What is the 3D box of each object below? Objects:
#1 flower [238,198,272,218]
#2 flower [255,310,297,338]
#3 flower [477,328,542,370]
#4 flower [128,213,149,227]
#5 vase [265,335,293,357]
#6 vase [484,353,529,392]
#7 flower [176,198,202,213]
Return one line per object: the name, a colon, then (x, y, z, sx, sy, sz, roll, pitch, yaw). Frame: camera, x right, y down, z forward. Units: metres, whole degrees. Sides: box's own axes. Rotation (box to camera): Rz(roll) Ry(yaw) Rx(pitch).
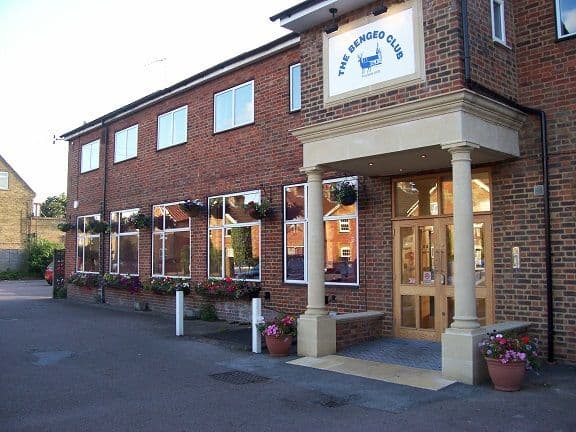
flower: (-0.913, -0.202, 14.737, 0.619, 0.426, 0.597, 1, 3, -37)
flower: (-0.245, 2.440, 11.608, 0.737, 0.462, 0.815, 2, -7, -8)
flower: (3.873, 2.242, 8.906, 0.713, 0.511, 0.834, -2, -1, 27)
flower: (-5.492, 0.127, 19.257, 0.580, 0.483, 0.605, 8, 12, -3)
vase: (-0.210, 2.796, 11.090, 0.441, 0.335, 0.468, -3, -9, 15)
vase: (3.674, 2.649, 8.604, 0.509, 0.426, 0.543, 0, -1, 7)
flower: (-3.174, -0.310, 16.948, 0.505, 0.398, 0.507, 4, -7, -40)
